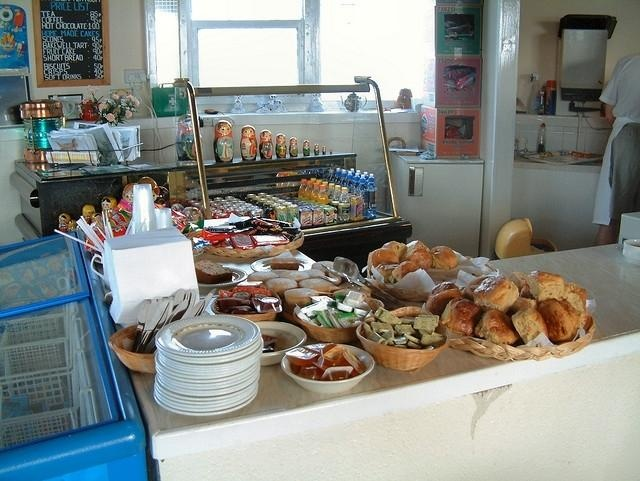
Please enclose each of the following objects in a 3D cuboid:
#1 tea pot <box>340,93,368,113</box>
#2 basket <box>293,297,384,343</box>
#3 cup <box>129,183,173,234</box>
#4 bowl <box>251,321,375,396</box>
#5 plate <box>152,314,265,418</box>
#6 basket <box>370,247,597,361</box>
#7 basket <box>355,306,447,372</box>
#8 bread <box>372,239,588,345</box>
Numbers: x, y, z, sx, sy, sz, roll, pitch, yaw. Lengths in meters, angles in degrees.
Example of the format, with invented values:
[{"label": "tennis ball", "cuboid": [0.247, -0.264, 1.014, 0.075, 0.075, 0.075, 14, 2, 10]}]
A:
[{"label": "tea pot", "cuboid": [0.214, -0.854, 2.739, 0.124, 0.110, 0.106, -13, 19, -34]}, {"label": "basket", "cuboid": [0.020, 0.203, 1.124, 0.125, 0.029, 0.111, -4, 16, -21]}, {"label": "cup", "cuboid": [-0.552, -0.099, 1.401, 0.132, 0.154, 0.133, -2, 16, 1]}, {"label": "bowl", "cuboid": [-0.034, 0.271, 1.019, 0.211, 0.029, 0.148, 9, 16, 40]}, {"label": "plate", "cuboid": [-0.209, 0.236, 0.908, 0.208, 0.104, 0.202, 15, 22, 34]}, {"label": "basket", "cuboid": [0.418, 0.106, 1.144, 0.444, 0.097, 0.363, 7, 13, 18]}, {"label": "basket", "cuboid": [0.201, 0.227, 1.031, 0.182, 0.066, 0.161, -1, 19, 2]}, {"label": "bread", "cuboid": [0.400, 0.146, 1.221, 0.330, 0.067, 0.467, -16, 25, -42]}]
